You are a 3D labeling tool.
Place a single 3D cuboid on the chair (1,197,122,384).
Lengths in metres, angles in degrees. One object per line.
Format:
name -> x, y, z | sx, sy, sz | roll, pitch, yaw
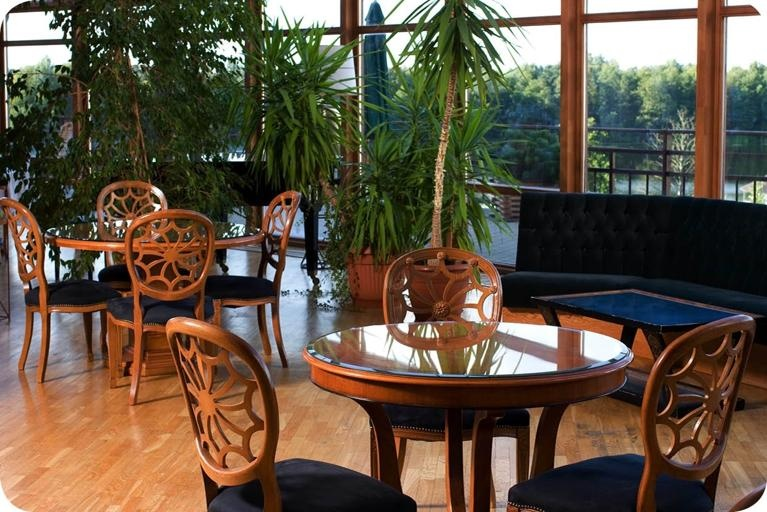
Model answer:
chair -> -2.542, 0.181, 4.807 | 0.678, 1.295, 1.512 | -7, 14, -32
